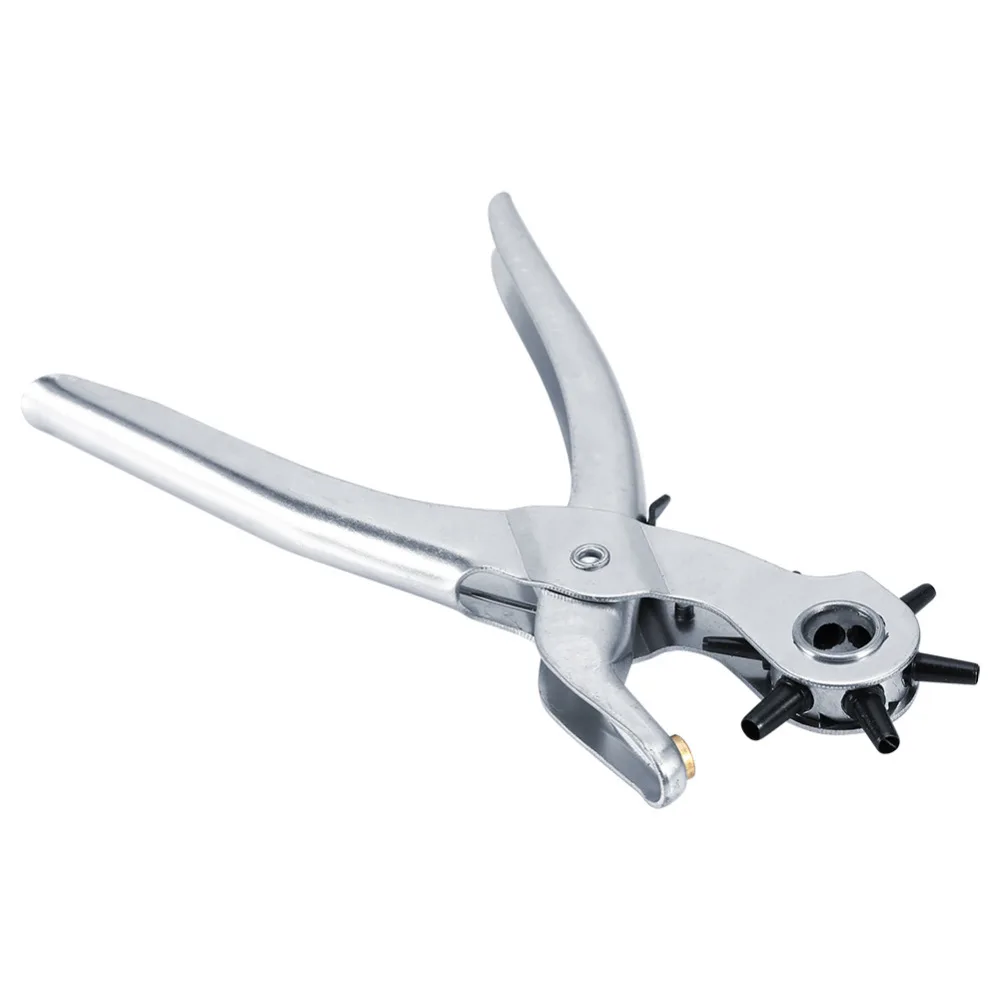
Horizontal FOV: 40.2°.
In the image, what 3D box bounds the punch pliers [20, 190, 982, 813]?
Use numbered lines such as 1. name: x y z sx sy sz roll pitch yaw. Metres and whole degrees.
1. punch pliers: -0.001 -0.106 2.210 1.313 1.419 0.177 -2 -45 8
